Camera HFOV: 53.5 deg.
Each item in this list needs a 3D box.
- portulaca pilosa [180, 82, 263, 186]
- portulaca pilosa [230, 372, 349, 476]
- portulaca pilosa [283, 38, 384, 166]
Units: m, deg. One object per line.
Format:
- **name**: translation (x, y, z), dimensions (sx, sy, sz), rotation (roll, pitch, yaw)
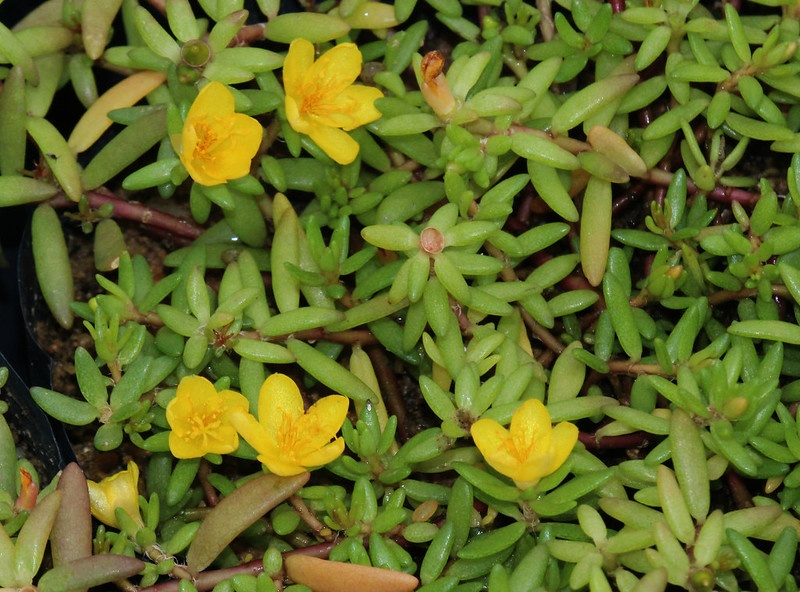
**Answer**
- **portulaca pilosa**: translation (-0.427, -0.355, 1.880), dimensions (0.205, 0.123, 0.244), rotation (-1, 94, -31)
- **portulaca pilosa**: translation (-0.249, 0.289, 1.749), dimensions (0.222, 0.107, 0.224), rotation (43, 51, 15)
- **portulaca pilosa**: translation (-0.196, -0.525, 2.026), dimensions (0.285, 0.260, 0.113), rotation (45, 72, -30)
